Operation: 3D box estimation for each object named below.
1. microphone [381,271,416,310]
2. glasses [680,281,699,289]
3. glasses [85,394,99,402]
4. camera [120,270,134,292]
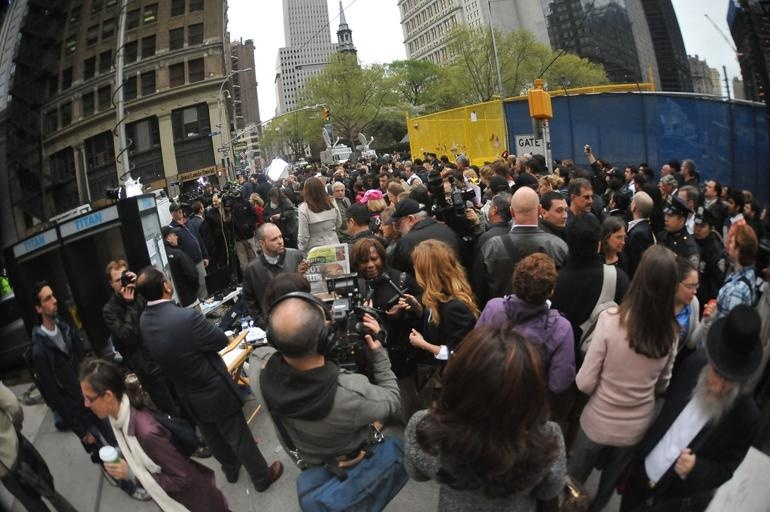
[{"bbox_3d":[0.151,0.325,5.509,0.237,0.360,0.097,-45,-25,15],"label":"microphone"},{"bbox_3d":[2.731,0.261,4.773,0.106,0.034,0.106,-9,15,-30],"label":"glasses"},{"bbox_3d":[-2.450,1.198,4.453,0.126,0.065,0.020,-4,10,19],"label":"glasses"},{"bbox_3d":[-2.852,0.264,5.882,0.147,0.255,0.189,-11,21,-32],"label":"camera"}]
